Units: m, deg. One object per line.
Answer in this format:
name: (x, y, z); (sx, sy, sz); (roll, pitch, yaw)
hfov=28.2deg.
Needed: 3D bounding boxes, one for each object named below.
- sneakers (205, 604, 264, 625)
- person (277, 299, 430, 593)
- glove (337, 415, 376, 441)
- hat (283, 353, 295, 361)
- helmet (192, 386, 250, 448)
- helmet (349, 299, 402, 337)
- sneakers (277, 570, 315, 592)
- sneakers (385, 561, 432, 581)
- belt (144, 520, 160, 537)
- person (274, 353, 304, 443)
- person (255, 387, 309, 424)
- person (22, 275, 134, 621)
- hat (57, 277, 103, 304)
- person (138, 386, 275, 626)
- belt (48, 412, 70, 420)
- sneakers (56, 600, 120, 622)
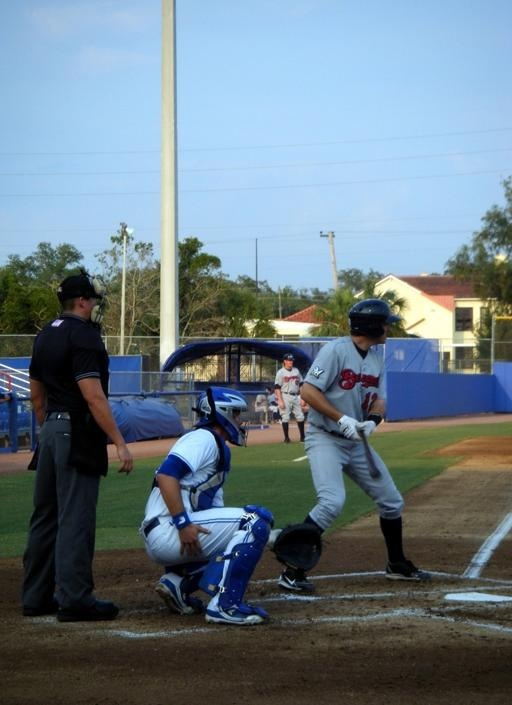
sneakers: (-0.101, 1.304, 5.039); (0.282, 0.120, 0.108); (-1, -5, 2)
person: (0.577, 0.513, 6.095); (0.851, 1.666, 0.610); (-2, 2, -26)
glove: (0.571, 0.424, 5.847); (0.183, 0.080, 0.142); (7, -23, 49)
hat: (0.596, 0.075, 17.762); (0.136, 0.090, 0.185); (2, -13, -11)
helmet: (-0.188, 0.342, 5.428); (0.342, 0.286, 0.243); (12, -7, -24)
helmet: (0.725, -0.209, 6.182); (0.310, 0.209, 0.214); (1, 1, 2)
sneakers: (0.222, 1.315, 5.800); (0.252, 0.102, 0.089); (10, -8, -39)
sneakers: (0.898, 1.285, 5.995); (0.239, 0.093, 0.104); (0, -3, 11)
belt: (-0.526, 0.882, 5.157); (0.032, 0.090, 0.068); (23, -8, 36)
person: (0.622, 0.813, 17.535); (0.592, 1.493, 0.405); (-3, 3, -3)
person: (0.585, 1.223, 23.240); (1.226, 1.066, 0.765); (-6, 0, 20)
person: (-0.968, 0.485, 5.379); (0.585, 1.824, 0.615); (-2, 2, -13)
hat: (-0.957, -0.341, 5.540); (0.211, 0.106, 0.141); (-8, 12, -30)
person: (-0.245, 0.785, 5.237); (0.662, 1.180, 0.597); (-1, 2, 15)
belt: (-1.030, 0.334, 5.310); (0.140, 0.040, 0.026); (0, 2, 37)
sneakers: (-0.856, 1.324, 5.224); (0.326, 0.114, 0.106); (-1, 3, -7)
